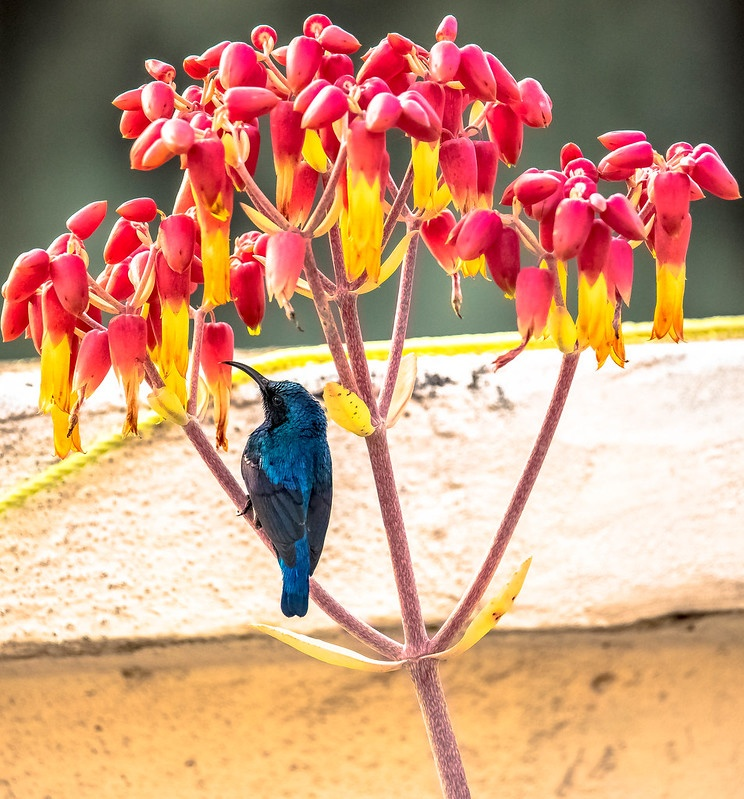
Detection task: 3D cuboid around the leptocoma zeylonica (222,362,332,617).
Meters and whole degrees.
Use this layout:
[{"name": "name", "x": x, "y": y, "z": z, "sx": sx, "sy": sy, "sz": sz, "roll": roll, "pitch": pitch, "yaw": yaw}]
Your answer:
[{"name": "leptocoma zeylonica", "x": -0.076, "y": 0.076, "z": 1.250, "sx": 0.076, "sy": 0.243, "sz": 0.101, "roll": 6, "pitch": -31, "yaw": -26}]

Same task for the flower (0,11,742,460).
[{"name": "flower", "x": -0.019, "y": -0.147, "z": 1.073, "sx": 0.363, "sy": 0.303, "sz": 0.438, "roll": -11, "pitch": 5, "yaw": 21}]
